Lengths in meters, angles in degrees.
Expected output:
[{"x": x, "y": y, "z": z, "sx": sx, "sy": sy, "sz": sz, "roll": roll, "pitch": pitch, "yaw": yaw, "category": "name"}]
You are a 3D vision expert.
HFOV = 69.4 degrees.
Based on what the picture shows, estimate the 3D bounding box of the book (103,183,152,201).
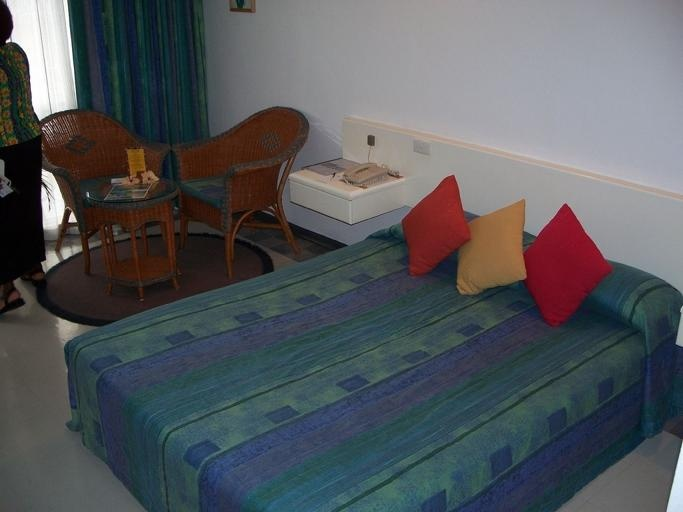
[{"x": -1.630, "y": -0.494, "z": 3.774, "sx": 0.318, "sy": 0.022, "sz": 0.361, "roll": -5, "pitch": 28, "yaw": -13, "category": "book"}]

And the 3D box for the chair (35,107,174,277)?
[{"x": -2.131, "y": -0.664, "z": 4.421, "sx": 1.076, "sy": 1.192, "sz": 0.928, "roll": -21, "pitch": 35, "yaw": -40, "category": "chair"}]

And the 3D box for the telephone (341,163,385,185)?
[{"x": 0.178, "y": -0.634, "z": 3.793, "sx": 0.315, "sy": 0.095, "sz": 0.208, "roll": -21, "pitch": 35, "yaw": -38, "category": "telephone"}]

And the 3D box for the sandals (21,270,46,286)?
[{"x": -2.473, "y": 0.179, "z": 3.983, "sx": 0.272, "sy": 0.103, "sz": 0.094, "roll": 17, "pitch": 30, "yaw": 37, "category": "sandals"}]

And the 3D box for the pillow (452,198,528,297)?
[{"x": 0.935, "y": -0.038, "z": 2.862, "sx": 0.164, "sy": 0.505, "sz": 0.527, "roll": 21, "pitch": -17, "yaw": -25, "category": "pillow"}]

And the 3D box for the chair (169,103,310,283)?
[{"x": -0.872, "y": -0.696, "z": 4.532, "sx": 1.102, "sy": 1.242, "sz": 1.029, "roll": 22, "pitch": 29, "yaw": 38, "category": "chair"}]
